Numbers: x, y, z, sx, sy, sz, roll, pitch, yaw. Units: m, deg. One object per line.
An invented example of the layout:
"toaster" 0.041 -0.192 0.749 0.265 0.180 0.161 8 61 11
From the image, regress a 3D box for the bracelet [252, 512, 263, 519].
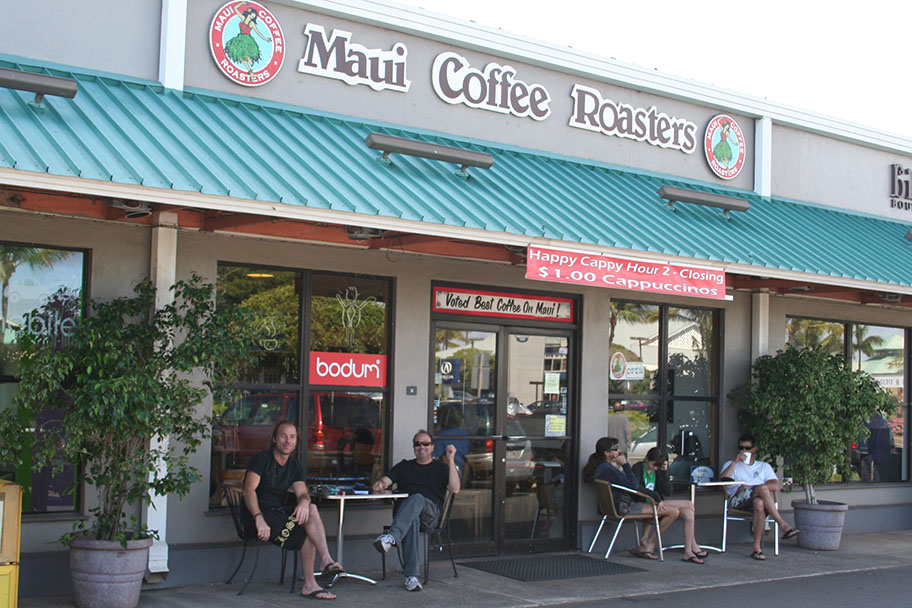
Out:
"bracelet" -2.364 2.516 12.048 0.079 0.059 0.083 0 -3 12

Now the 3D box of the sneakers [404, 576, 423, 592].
"sneakers" -0.525 3.437 12.508 0.222 0.179 0.255 1 -8 -3

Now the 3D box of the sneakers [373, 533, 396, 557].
"sneakers" -0.869 2.960 12.526 0.178 0.162 0.375 -37 -3 -13

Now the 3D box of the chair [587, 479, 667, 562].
"chair" 2.611 3.117 14.708 1.162 1.377 1.097 0 -5 -11

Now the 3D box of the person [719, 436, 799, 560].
"person" 4.471 2.788 15.345 0.947 1.848 1.476 -3 1 -1

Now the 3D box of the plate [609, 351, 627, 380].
"plate" 2.452 0.934 15.429 0.427 0.492 0.061 3 -3 -43

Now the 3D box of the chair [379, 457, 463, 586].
"chair" -0.491 2.606 12.797 0.736 1.657 0.945 -2 -5 31

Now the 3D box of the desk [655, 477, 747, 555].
"desk" 3.817 3.217 15.589 1.287 1.231 1.307 2 3 45

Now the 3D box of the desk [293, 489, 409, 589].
"desk" -1.317 2.973 12.787 1.187 1.137 1.162 3 -7 -30

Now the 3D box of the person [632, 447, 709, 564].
"person" 3.157 2.784 14.787 0.896 1.759 1.122 -2 0 -6

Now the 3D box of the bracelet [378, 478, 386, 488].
"bracelet" -0.939 2.281 12.877 0.113 0.153 0.156 2 -8 -5

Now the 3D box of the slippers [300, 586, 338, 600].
"slippers" -1.638 3.460 12.077 0.297 0.065 0.166 -2 -4 26

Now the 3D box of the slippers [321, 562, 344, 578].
"slippers" -1.572 3.302 12.538 0.147 0.155 0.424 8 -16 -39

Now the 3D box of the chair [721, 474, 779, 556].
"chair" 4.368 3.523 15.713 0.842 0.484 0.867 -5 -17 28
